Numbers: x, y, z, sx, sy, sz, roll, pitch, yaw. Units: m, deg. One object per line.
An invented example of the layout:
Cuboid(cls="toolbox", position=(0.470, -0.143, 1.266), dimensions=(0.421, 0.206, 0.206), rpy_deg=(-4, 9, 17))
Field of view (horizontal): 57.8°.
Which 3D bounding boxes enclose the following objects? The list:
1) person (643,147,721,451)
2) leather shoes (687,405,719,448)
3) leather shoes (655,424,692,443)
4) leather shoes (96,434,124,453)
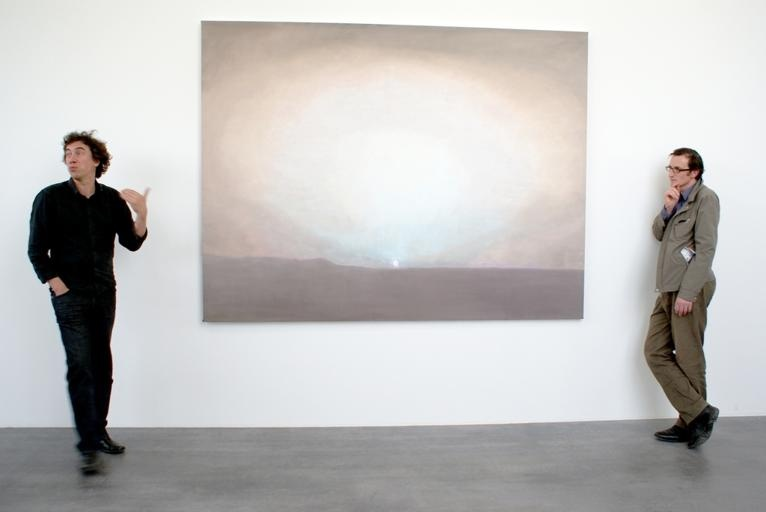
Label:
Cuboid(cls="person", position=(2.507, 0.320, 5.764), dimensions=(0.734, 2.352, 0.531), rpy_deg=(12, 16, 42))
Cuboid(cls="leather shoes", position=(2.609, 1.379, 5.690), dimensions=(0.248, 0.322, 0.179), rpy_deg=(1, 12, 1))
Cuboid(cls="leather shoes", position=(2.414, 1.474, 5.798), dimensions=(0.278, 0.115, 0.115), rpy_deg=(0, -4, -8))
Cuboid(cls="leather shoes", position=(-2.198, 1.500, 5.578), dimensions=(0.267, 0.118, 0.096), rpy_deg=(1, -2, 15))
